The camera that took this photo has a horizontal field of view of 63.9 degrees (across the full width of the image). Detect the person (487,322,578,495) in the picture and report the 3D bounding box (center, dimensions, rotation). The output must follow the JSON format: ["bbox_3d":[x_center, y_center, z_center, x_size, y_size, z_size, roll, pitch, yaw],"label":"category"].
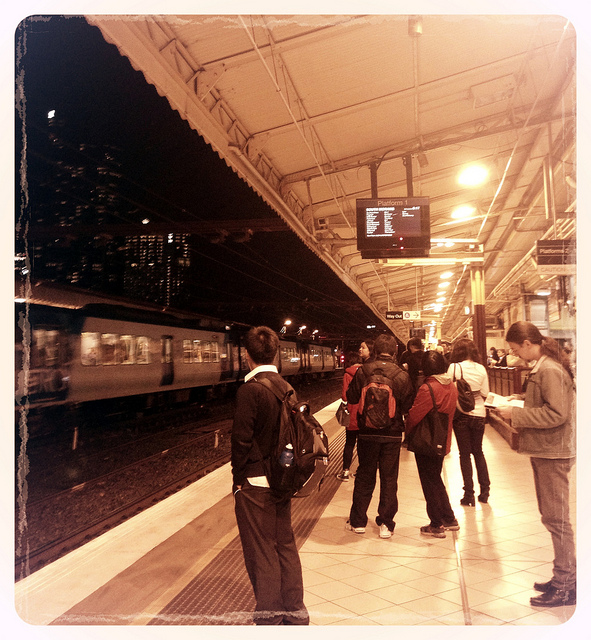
[{"bbox_3d":[1.450,0.525,2.882,0.422,1.034,0.346,-5,-6,31],"label":"person"}]

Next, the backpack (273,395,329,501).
[{"bbox_3d":[0.040,0.687,2.593,0.261,0.535,0.383,9,4,13],"label":"backpack"}]

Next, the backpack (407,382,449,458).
[{"bbox_3d":[1.055,0.778,3.818,0.334,0.613,0.151,5,17,28],"label":"backpack"}]

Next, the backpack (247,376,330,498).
[{"bbox_3d":[-0.011,0.641,2.609,0.373,0.647,0.411,5,6,25],"label":"backpack"}]

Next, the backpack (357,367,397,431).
[{"bbox_3d":[0.669,0.610,3.805,0.335,0.525,0.275,6,14,8],"label":"backpack"}]

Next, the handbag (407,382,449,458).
[{"bbox_3d":[1.062,0.812,3.845,0.334,0.604,0.132,-3,-6,16],"label":"handbag"}]

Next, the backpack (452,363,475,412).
[{"bbox_3d":[1.653,0.655,4.622,0.230,0.474,0.102,1,-6,-22],"label":"backpack"}]

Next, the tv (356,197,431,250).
[{"bbox_3d":[1.333,-1.292,6.517,1.035,0.802,0.132,-2,0,-7],"label":"tv"}]
